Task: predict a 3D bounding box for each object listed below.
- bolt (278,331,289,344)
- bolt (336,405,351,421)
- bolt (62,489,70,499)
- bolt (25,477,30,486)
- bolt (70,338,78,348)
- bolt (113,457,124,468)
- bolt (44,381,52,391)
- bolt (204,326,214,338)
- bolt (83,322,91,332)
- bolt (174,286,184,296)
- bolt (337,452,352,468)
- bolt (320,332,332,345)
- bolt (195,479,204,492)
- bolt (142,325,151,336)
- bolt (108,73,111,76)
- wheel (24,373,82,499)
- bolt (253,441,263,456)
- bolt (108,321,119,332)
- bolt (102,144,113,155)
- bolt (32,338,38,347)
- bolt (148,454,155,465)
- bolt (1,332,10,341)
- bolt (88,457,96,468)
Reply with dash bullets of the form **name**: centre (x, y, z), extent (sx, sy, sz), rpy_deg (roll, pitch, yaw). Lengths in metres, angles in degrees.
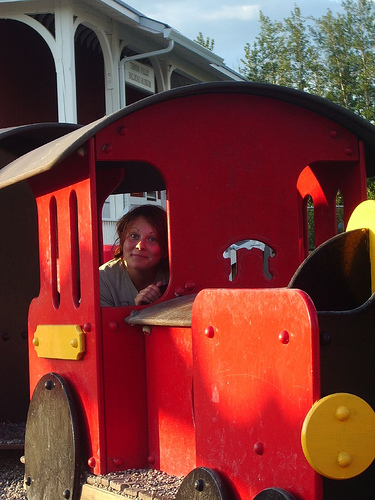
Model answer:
- **bolt**: centre (0.276, 0.249, 2.169), extent (0.017, 0.032, 0.027), rpy_deg (6, 6, -40)
- **bolt**: centre (0.424, 0.439, 2.034), extent (0.044, 0.043, 0.011), rpy_deg (0, 0, -22)
- **bolt**: centre (-0.535, 1.065, 3.301), extent (0.008, 0.038, 0.035), rpy_deg (5, -8, -42)
- **bolt**: centre (-0.793, 1.138, 3.725), extent (0.034, 0.026, 0.029), rpy_deg (-2, -1, -11)
- **bolt**: centre (-0.510, 0.413, 3.381), extent (0.020, 0.039, 0.037), rpy_deg (5, -1, -35)
- **bolt**: centre (-0.298, 0.904, 3.224), extent (0.050, 0.045, 0.015), rpy_deg (0, 0, -40)
- **bolt**: centre (-0.671, 0.648, 3.611), extent (0.033, 0.040, 0.038), rpy_deg (1, 0, -11)
- **bolt**: centre (0.075, 0.277, 2.572), extent (0.008, 0.035, 0.028), rpy_deg (5, -13, -28)
- **bolt**: centre (-0.445, 0.338, 3.311), extent (0.031, 0.041, 0.022), rpy_deg (-3, -4, 34)
- **bolt**: centre (-0.038, 0.183, 3.391), extent (0.038, 0.039, 0.020), rpy_deg (-32, 13, -28)
- **bolt**: centre (0.427, 0.565, 2.034), extent (0.043, 0.043, 0.012), rpy_deg (0, 0, -25)
- **bolt**: centre (0.404, 0.256, 2.193), extent (0.034, 0.037, 0.014), rpy_deg (1, 0, 3)
- **bolt**: centre (0.041, 0.789, 2.552), extent (0.007, 0.034, 0.034), rpy_deg (16, -47, -41)
- **bolt**: centre (-0.176, 0.339, 3.236), extent (0.034, 0.047, 0.039), rpy_deg (0, 6, 5)
- **bolt**: centre (-1.063, -2.364, 10.177), extent (0.038, 0.041, 0.009), rpy_deg (1, 9, -4)
- **wheel**: centre (-0.616, 0.867, 3.496), extent (0.093, 0.620, 0.533), rpy_deg (2, -15, -26)
- **bolt**: centre (0.216, 0.603, 2.301), extent (0.007, 0.034, 0.028), rpy_deg (8, -25, -32)
- **bolt**: centre (-0.319, 0.326, 3.239), extent (0.038, 0.042, 0.024), rpy_deg (10, -8, -2)
- **bolt**: centre (-0.353, -0.443, 3.314), extent (0.049, 0.046, 0.011), rpy_deg (0, 0, -26)
- **bolt**: centre (-0.787, 0.470, 3.888), extent (0.034, 0.028, 0.027), rpy_deg (4, -19, 44)
- **bolt**: centre (-0.156, 0.896, 3.240), extent (0.037, 0.040, 0.029), rpy_deg (-5, 20, -30)
- **bolt**: centre (-1.238, 0.579, 5.097), extent (0.048, 0.039, 0.051), rpy_deg (-2, -2, 6)
- **bolt**: centre (-0.414, 0.912, 3.254), extent (0.024, 0.041, 0.038), rpy_deg (4, -9, -35)
